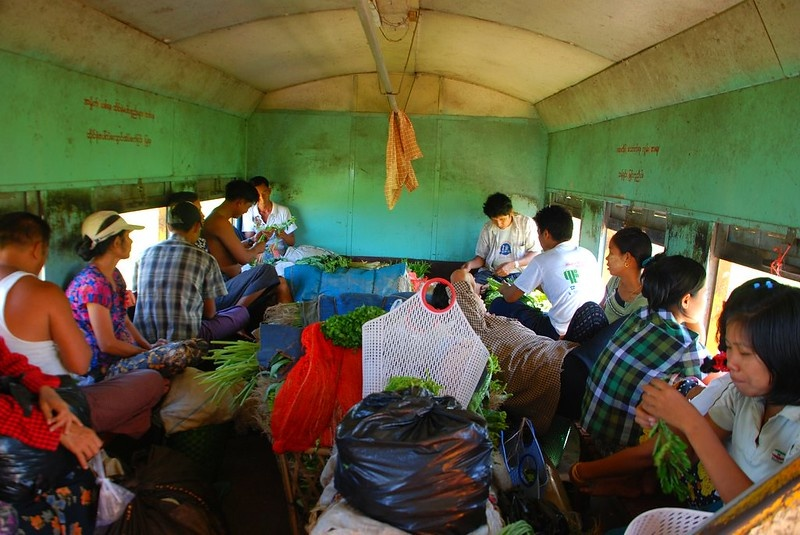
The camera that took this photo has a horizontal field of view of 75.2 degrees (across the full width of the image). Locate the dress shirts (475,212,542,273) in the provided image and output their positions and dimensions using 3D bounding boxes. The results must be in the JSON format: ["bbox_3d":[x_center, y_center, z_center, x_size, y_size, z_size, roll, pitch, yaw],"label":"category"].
[{"bbox_3d":[1.460,-0.347,7.086,0.869,0.774,0.494,1,20,16],"label":"dress shirts"}]

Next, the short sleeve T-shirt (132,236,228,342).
[{"bbox_3d":[-1.910,0.212,4.445,0.833,0.893,0.453,5,14,3],"label":"short sleeve T-shirt"}]

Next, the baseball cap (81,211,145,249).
[{"bbox_3d":[-2.109,-0.296,3.826,0.354,0.184,0.234,-23,21,-27],"label":"baseball cap"}]

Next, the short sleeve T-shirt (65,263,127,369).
[{"bbox_3d":[-2.078,0.350,3.549,0.384,0.682,0.688,0,6,-18],"label":"short sleeve T-shirt"}]

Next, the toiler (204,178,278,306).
[{"bbox_3d":[-1.789,-0.281,5.806,0.829,1.536,1.118,-8,22,-24],"label":"toiler"}]

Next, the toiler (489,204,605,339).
[{"bbox_3d":[1.643,-0.047,5.348,1.115,1.416,1.190,-4,12,-28],"label":"toiler"}]

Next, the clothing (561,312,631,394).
[{"bbox_3d":[1.418,0.525,3.815,0.162,0.501,0.531,34,-16,-14],"label":"clothing"}]

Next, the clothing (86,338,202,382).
[{"bbox_3d":[-1.809,0.688,3.766,0.505,0.168,0.317,-24,-2,1],"label":"clothing"}]

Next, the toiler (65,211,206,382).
[{"bbox_3d":[-1.880,0.223,4.073,1.091,1.237,1.235,-1,5,13],"label":"toiler"}]

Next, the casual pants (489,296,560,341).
[{"bbox_3d":[1.206,0.472,5.007,0.544,0.137,0.323,32,9,32],"label":"casual pants"}]

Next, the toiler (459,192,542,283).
[{"bbox_3d":[1.300,-0.298,6.833,1.050,1.229,0.950,-8,27,-6],"label":"toiler"}]

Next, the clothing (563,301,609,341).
[{"bbox_3d":[1.478,0.398,4.097,0.332,0.238,0.335,-42,-1,30],"label":"clothing"}]

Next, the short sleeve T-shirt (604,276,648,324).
[{"bbox_3d":[1.724,0.251,3.927,0.167,0.282,0.302,1,23,-4],"label":"short sleeve T-shirt"}]

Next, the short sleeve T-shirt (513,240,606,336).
[{"bbox_3d":[1.499,0.179,4.726,0.776,0.839,0.315,10,-7,-1],"label":"short sleeve T-shirt"}]

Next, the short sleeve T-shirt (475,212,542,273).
[{"bbox_3d":[1.463,-0.358,7.081,0.877,0.777,0.502,1,24,16],"label":"short sleeve T-shirt"}]

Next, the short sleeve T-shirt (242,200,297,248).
[{"bbox_3d":[-1.863,-0.784,7.304,0.767,0.409,0.765,-2,-21,-13],"label":"short sleeve T-shirt"}]
